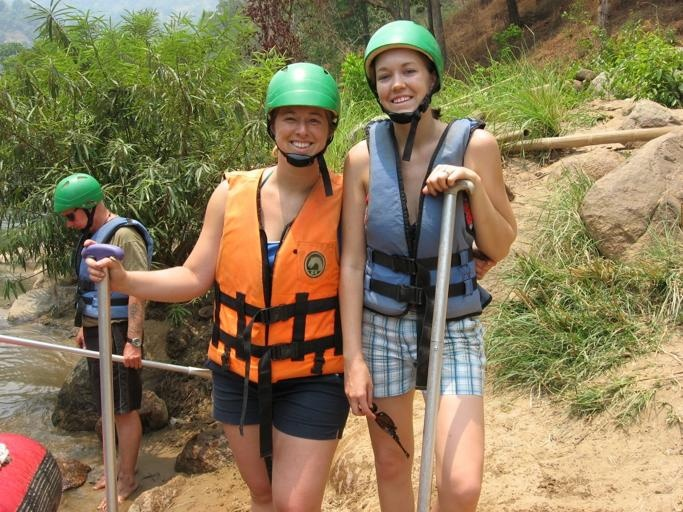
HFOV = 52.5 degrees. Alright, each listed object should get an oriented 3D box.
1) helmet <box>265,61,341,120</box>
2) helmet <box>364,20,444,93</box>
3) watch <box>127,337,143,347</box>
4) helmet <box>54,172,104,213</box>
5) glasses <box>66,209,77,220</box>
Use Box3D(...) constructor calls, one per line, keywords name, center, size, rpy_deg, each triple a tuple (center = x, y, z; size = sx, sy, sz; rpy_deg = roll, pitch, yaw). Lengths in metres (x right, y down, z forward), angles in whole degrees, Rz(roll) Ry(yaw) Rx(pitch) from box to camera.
Box3D(name="helmet", center=(-0.256, -1.102, 4.564), size=(0.301, 0.334, 0.435), rpy_deg=(1, 25, -2))
Box3D(name="helmet", center=(0.440, -1.339, 4.630), size=(0.364, 0.392, 0.507), rpy_deg=(-14, -13, 17))
Box3D(name="watch", center=(-1.994, 0.814, 6.693), size=(0.088, 0.102, 0.093), rpy_deg=(-1, 4, -4))
Box3D(name="helmet", center=(-2.572, -0.611, 6.788), size=(0.424, 0.295, 0.307), rpy_deg=(-21, 34, -17))
Box3D(name="glasses", center=(-2.631, -0.415, 6.788), size=(0.066, 0.053, 0.117), rpy_deg=(6, 51, 21))
